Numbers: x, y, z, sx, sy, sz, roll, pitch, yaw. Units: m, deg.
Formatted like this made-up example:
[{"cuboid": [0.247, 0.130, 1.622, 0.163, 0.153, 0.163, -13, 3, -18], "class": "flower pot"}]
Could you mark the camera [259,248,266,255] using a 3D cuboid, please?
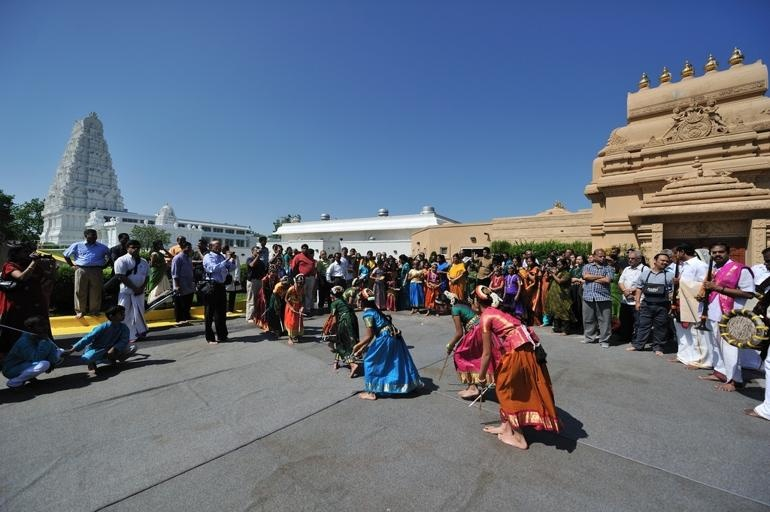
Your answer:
[{"cuboid": [-3.121, -0.086, 10.542, 0.115, 0.195, 0.218, -8, 1, -21], "class": "camera"}]

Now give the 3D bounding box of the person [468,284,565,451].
[{"cuboid": [1.776, 1.561, 5.544, 1.064, 2.216, 0.667, -1, -1, 28], "class": "person"}]

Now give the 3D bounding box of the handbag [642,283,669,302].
[{"cuboid": [5.417, 0.853, 8.232, 0.500, 0.384, 0.360, -7, -26, 42], "class": "handbag"}]
